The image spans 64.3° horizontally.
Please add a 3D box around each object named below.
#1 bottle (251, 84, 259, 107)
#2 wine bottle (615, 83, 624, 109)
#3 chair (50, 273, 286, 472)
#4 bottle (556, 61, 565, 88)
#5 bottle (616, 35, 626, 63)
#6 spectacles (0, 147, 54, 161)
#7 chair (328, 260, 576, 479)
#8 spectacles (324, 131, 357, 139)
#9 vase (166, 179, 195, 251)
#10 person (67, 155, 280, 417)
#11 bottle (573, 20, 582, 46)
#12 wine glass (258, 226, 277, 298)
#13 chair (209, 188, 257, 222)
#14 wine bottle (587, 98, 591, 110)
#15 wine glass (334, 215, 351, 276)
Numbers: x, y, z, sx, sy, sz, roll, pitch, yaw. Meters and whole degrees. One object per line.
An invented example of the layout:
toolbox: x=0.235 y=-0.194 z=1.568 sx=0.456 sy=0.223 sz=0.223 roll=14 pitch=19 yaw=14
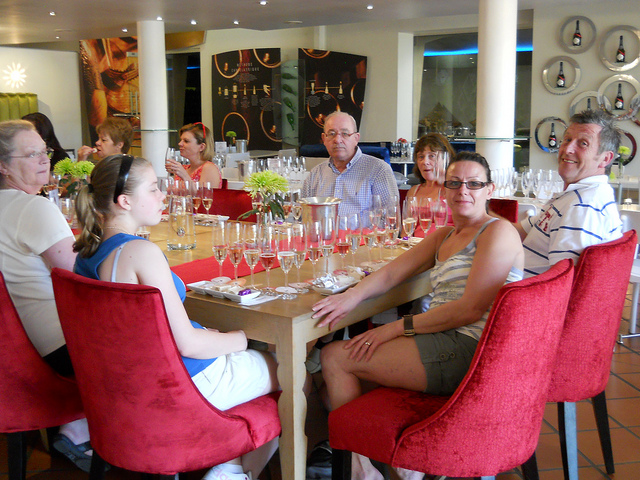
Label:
bottle: x=-1.367 y=-3.010 z=10.741 sx=0.188 sy=0.438 sz=0.028 roll=4 pitch=12 yaw=32
wine bottle: x=4.653 y=-2.212 z=7.911 sx=0.113 sy=0.372 sz=0.049 roll=4 pitch=11 yaw=30
chair: x=-0.537 y=0.400 z=1.889 sx=0.725 sy=0.672 sz=0.639 roll=6 pitch=11 yaw=31
bottle: x=3.890 y=-2.650 z=8.209 sx=0.115 sy=0.386 sz=0.081 roll=1 pitch=10 yaw=18
bottle: x=4.631 y=-2.924 z=7.817 sx=0.127 sy=0.406 sz=0.068 roll=4 pitch=11 yaw=28
spectacles: x=-1.403 y=-0.399 z=2.427 sx=0.065 sy=0.051 sz=0.201 roll=8 pitch=13 yaw=44
chair: x=0.535 y=0.354 z=2.095 sx=0.829 sy=1.025 sz=0.720 roll=3 pitch=5 yaw=34
spectacles: x=0.152 y=-0.807 z=3.941 sx=0.220 sy=0.057 sz=0.076 roll=-1 pitch=9 yaw=5
vase: x=-0.789 y=-0.161 z=2.893 sx=0.180 sy=0.450 sz=0.169 roll=-2 pitch=8 yaw=-18
person: x=-0.557 y=0.149 z=2.243 sx=0.747 sy=1.090 sz=0.968 roll=4 pitch=6 yaw=44
bottle: x=4.067 y=-3.246 z=8.020 sx=0.138 sy=0.393 sz=0.068 roll=-2 pitch=10 yaw=-1
wine glass: x=-0.210 y=0.084 z=2.060 sx=0.103 sy=0.285 sz=0.099 roll=4 pitch=11 yaw=18
chair: x=-0.659 y=-0.283 z=3.991 sx=0.302 sy=0.404 sz=0.329 roll=9 pitch=11 yaw=38
wine bottle: x=4.274 y=-2.167 z=8.083 sx=0.050 sy=0.138 sz=0.017 roll=4 pitch=11 yaw=28
wine glass: x=0.116 y=0.030 z=2.352 sx=0.109 sy=0.279 sz=0.100 roll=5 pitch=3 yaw=4
